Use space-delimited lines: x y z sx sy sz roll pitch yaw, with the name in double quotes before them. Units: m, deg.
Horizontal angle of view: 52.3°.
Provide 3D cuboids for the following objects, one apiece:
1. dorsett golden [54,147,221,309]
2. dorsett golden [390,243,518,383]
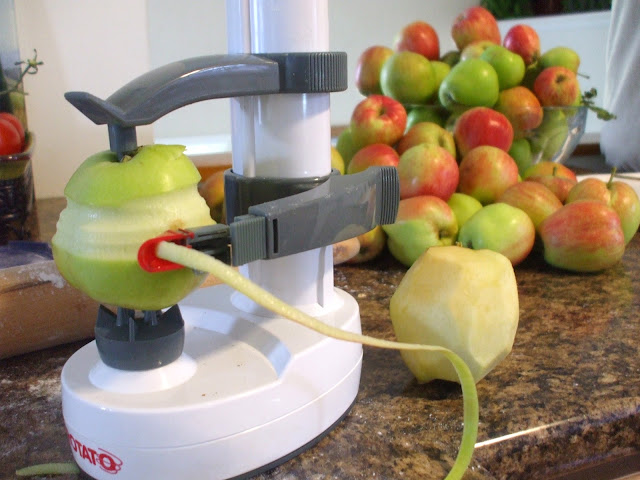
"dorsett golden" -0.160 0.018 0.668 0.167 0.199 0.157 9 -8 -39
"dorsett golden" 0.166 0.085 0.816 0.139 0.155 0.127 19 4 27
